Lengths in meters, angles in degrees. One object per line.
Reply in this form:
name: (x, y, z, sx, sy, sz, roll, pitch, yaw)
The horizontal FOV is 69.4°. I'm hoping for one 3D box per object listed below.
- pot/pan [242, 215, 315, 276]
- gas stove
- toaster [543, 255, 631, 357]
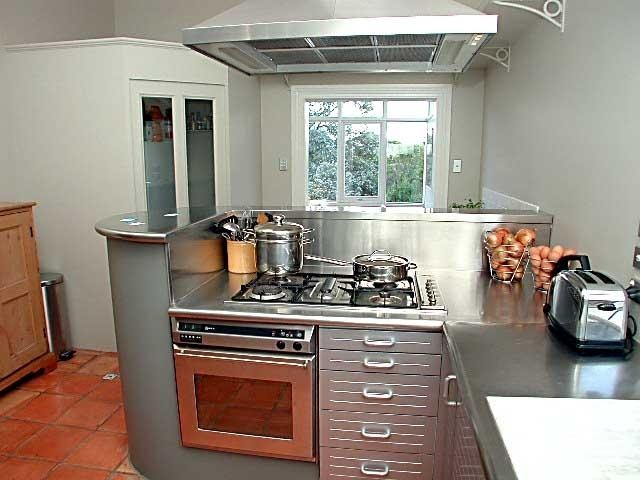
pot/pan: (-0.206, 0.035, 2.404, 0.300, 0.304, 0.306, 11, 10, 5)
gas stove: (0.061, 0.239, 2.284, 0.949, 0.060, 0.520, 0, 6, 5)
toaster: (0.960, 0.238, 1.798, 0.239, 0.257, 0.385, -1, 9, 5)
